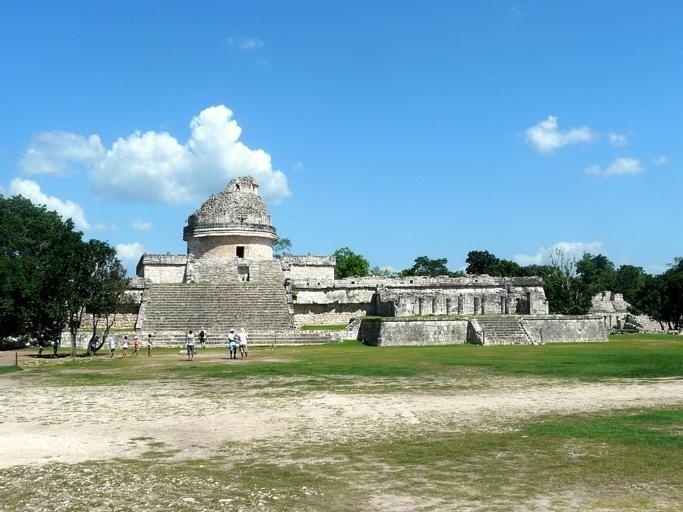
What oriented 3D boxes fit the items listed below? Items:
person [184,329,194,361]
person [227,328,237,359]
[{"bbox_3d":[-6.573,3.849,31.077,0.328,1.288,1.395,4,-10,-11],"label":"person"},{"bbox_3d":[-4.687,3.793,31.012,0.353,1.270,1.379,3,-9,-7],"label":"person"}]
